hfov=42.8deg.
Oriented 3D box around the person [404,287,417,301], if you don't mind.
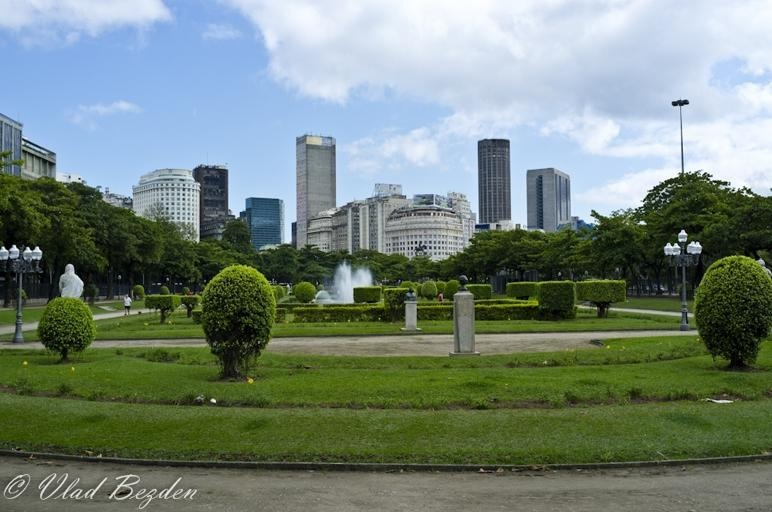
[{"bbox_3d":[1.424,1.885,50.953,0.874,0.756,0.598,1,-6,-9],"label":"person"}]
